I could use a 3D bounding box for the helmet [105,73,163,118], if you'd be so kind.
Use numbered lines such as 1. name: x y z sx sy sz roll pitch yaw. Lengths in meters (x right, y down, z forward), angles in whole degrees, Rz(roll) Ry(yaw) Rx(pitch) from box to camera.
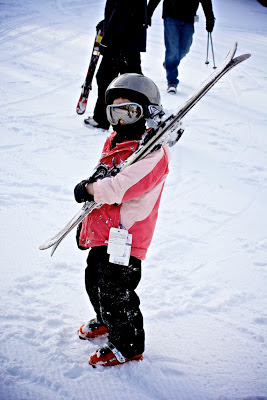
1. helmet: 0.012 -0.518 2.089 0.244 0.199 0.300 11 12 24

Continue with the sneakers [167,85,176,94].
1. sneakers: 0.513 -1.501 5.764 0.108 0.131 0.145 3 10 -2

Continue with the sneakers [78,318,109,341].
1. sneakers: -0.210 0.680 2.253 0.150 0.059 0.082 -7 16 -24

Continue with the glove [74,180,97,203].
1. glove: -0.233 -0.035 1.938 0.086 0.102 0.094 -3 -5 15

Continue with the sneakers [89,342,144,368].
1. sneakers: -0.093 0.764 2.100 0.264 0.083 0.086 1 2 -11
